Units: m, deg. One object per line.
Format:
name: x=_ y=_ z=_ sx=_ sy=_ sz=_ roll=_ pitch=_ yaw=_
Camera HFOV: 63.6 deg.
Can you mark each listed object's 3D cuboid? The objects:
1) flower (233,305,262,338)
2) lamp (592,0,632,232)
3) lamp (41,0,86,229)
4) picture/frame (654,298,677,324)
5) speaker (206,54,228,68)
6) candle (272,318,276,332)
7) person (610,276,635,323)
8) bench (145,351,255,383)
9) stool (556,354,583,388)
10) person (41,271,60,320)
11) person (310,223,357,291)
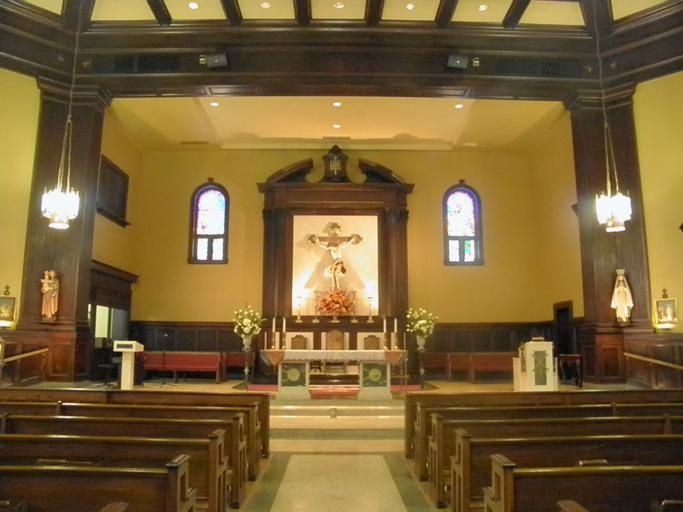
flower: x=-2.223 y=1.529 z=12.849 sx=0.779 sy=0.817 sz=0.837 roll=3 pitch=-10 yaw=-5
lamp: x=4.644 y=-2.400 z=9.496 sx=0.599 sy=4.017 sz=0.953 roll=0 pitch=-4 yaw=27
lamp: x=-4.699 y=-2.434 z=9.411 sx=0.567 sy=3.955 sz=1.135 roll=4 pitch=-4 yaw=-27
picture/frame: x=5.379 y=0.925 z=9.116 sx=0.053 sy=0.497 sz=0.412 roll=14 pitch=-12 yaw=-40
speaker: x=-2.270 y=-3.526 z=9.976 sx=0.433 sy=0.219 sz=0.283 roll=1 pitch=14 yaw=2
candle: x=-1.659 y=1.651 z=13.525 sx=0.065 sy=0.286 sz=0.118 roll=2 pitch=-3 yaw=-4
person: x=4.793 y=0.724 z=9.414 sx=0.358 sy=0.819 sz=0.171 roll=1 pitch=-3 yaw=18
bench: x=-3.470 y=2.653 z=13.149 sx=2.322 sy=0.703 sz=1.319 roll=3 pitch=-3 yaw=-22
stool: x=4.240 y=2.076 z=10.213 sx=0.336 sy=0.345 sz=0.325 roll=8 pitch=-12 yaw=-29
person: x=-4.936 y=0.679 z=9.289 sx=0.287 sy=0.851 sz=0.239 roll=4 pitch=-4 yaw=-28
person: x=-0.176 y=-0.032 z=14.060 sx=1.286 sy=1.716 sz=0.485 roll=2 pitch=-3 yaw=3
